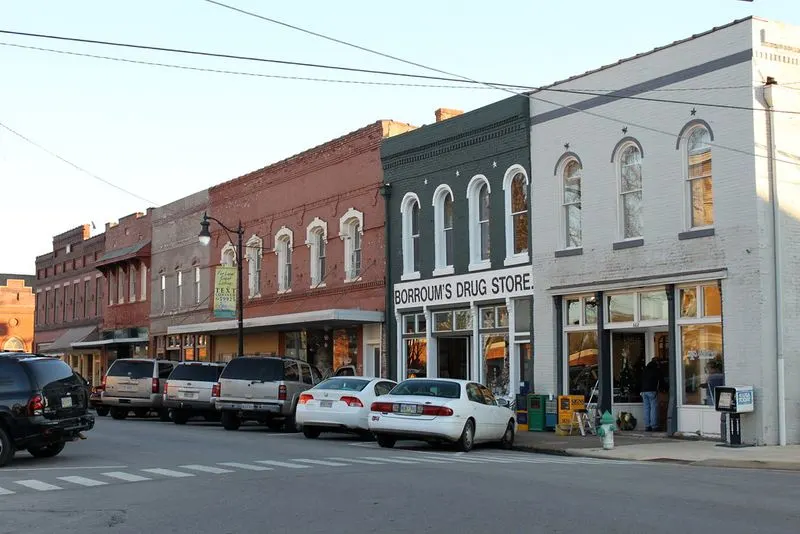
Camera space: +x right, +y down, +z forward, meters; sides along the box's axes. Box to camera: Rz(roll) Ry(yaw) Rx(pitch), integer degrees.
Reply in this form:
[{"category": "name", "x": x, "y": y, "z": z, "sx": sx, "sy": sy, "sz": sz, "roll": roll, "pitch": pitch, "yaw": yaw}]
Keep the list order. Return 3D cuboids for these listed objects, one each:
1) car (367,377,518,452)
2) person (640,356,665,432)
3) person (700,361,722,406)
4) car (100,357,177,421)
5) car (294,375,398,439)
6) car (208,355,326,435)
[{"category": "car", "x": 1.223, "y": 3.815, "z": 23.330, "sx": 3.597, "sy": 1.841, "sz": 1.681, "roll": -1, "pitch": -1, "yaw": -24}, {"category": "person", "x": 7.442, "y": 3.771, "z": 27.049, "sx": 0.553, "sy": 2.197, "sz": 0.711, "roll": -1, "pitch": 0, "yaw": 21}, {"category": "person", "x": 8.552, "y": 3.135, "z": 25.094, "sx": 0.787, "sy": 1.030, "sz": 0.483, "roll": 6, "pitch": 0, "yaw": 37}, {"category": "car", "x": -9.297, "y": 4.239, "z": 32.272, "sx": 1.836, "sy": 1.561, "sz": 3.146, "roll": -1, "pitch": -2, "yaw": 21}, {"category": "car", "x": -1.617, "y": 3.817, "z": 24.992, "sx": 1.325, "sy": 0.912, "sz": 2.871, "roll": -1, "pitch": -3, "yaw": 21}, {"category": "car", "x": -4.208, "y": 3.742, "z": 27.807, "sx": 1.825, "sy": 1.459, "sz": 3.296, "roll": -2, "pitch": -3, "yaw": 23}]
